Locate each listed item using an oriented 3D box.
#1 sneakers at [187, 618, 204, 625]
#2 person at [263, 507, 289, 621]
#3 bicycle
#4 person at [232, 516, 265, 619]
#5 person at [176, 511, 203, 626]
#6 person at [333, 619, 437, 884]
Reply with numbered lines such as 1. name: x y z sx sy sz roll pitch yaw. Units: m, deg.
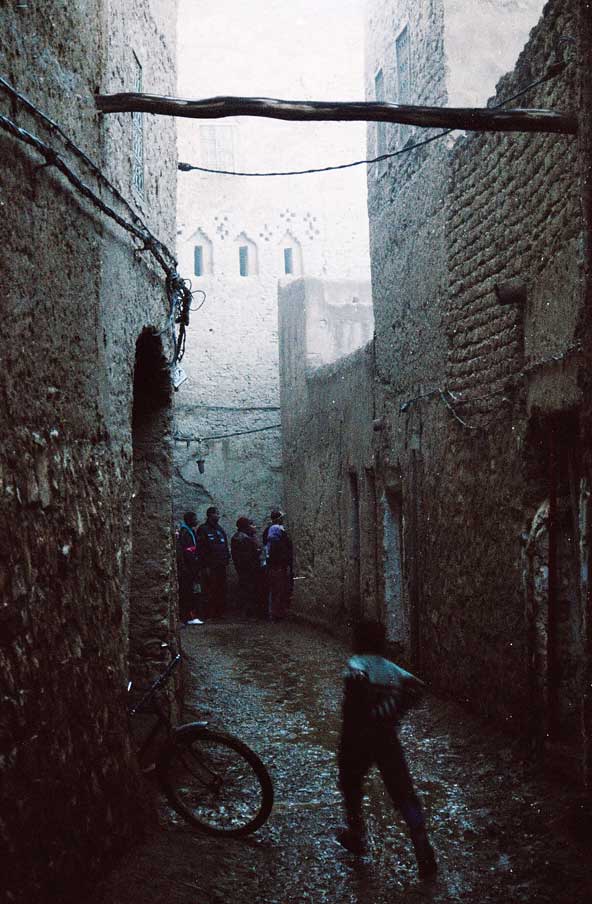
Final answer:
1. sneakers: -1.229 2.054 10.092 0.141 0.079 0.083 -5 -6 15
2. person: -0.244 1.492 10.632 0.342 1.027 1.084 -3 -1 -2
3. bicycle: -0.416 1.394 3.843 0.465 0.617 0.943 -27 -7 -34
4. person: -0.633 1.489 10.755 0.393 1.002 0.358 -3 -1 -5
5. person: -1.292 1.414 10.044 0.265 0.997 1.014 -2 -2 -7
6. person: 0.323 1.196 3.401 0.274 0.877 0.569 -2 -2 -24
